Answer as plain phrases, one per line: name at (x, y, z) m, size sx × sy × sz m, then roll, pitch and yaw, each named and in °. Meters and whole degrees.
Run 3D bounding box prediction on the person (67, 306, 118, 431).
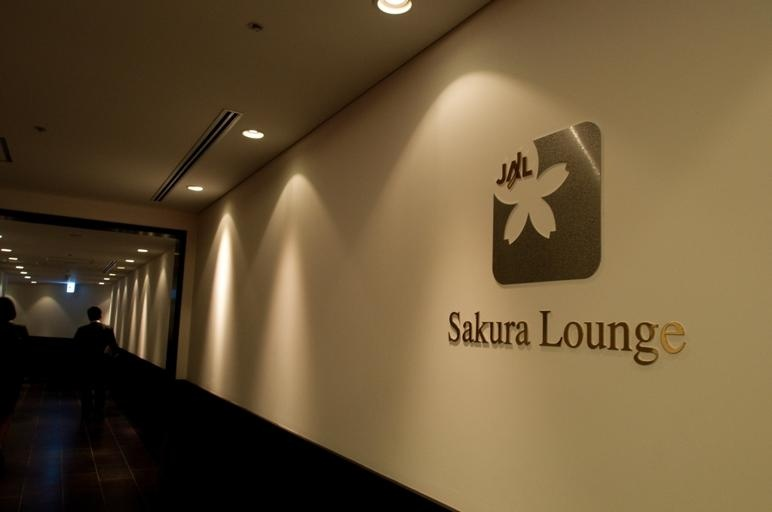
person at (-4.705, 1.741, 8.888) m, size 0.612 × 1.828 × 0.974 m, roll 2°, pitch -5°, yaw -30°
